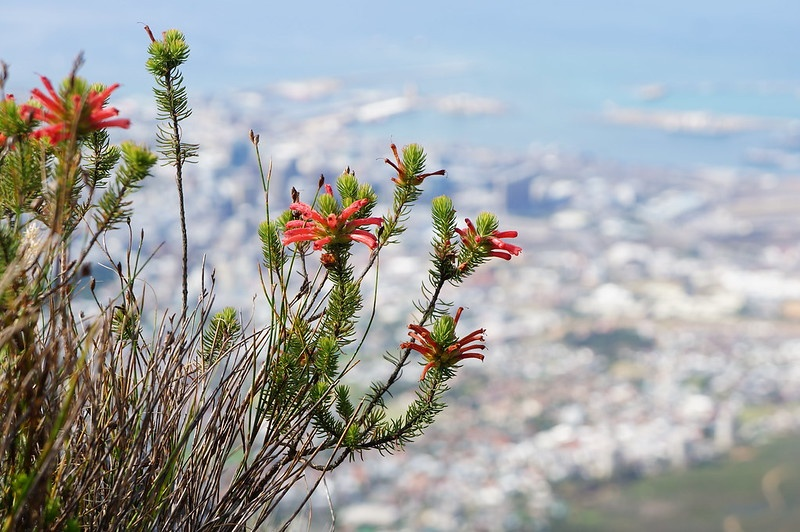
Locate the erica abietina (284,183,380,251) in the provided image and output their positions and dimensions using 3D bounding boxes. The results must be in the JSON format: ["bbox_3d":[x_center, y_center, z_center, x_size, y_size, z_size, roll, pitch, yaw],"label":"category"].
[{"bbox_3d":[-0.504,-0.276,10.054,0.615,0.393,0.696,-3,19,0],"label":"erica abietina"}]

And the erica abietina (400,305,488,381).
[{"bbox_3d":[0.314,0.562,9.975,0.606,0.373,0.228,-8,4,2],"label":"erica abietina"}]

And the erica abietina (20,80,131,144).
[{"bbox_3d":[-2.286,-1.111,9.599,0.702,0.418,0.435,-9,4,-8],"label":"erica abietina"}]
